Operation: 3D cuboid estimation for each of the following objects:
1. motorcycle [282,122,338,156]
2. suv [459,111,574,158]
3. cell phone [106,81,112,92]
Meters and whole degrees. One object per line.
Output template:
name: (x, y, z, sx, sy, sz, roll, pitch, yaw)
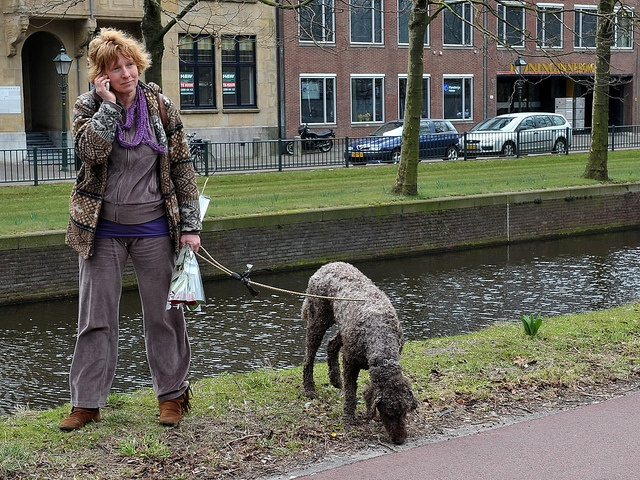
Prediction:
motorcycle: (0.001, -3.158, 38.336, 2.247, 1.263, 0.873, -1, 5, -18)
suv: (5.951, -3.258, 38.160, 3.404, 1.100, 1.816, -2, 1, -44)
cell phone: (-2.643, -1.942, 15.453, 0.033, 0.114, 0.091, 3, 14, 15)
